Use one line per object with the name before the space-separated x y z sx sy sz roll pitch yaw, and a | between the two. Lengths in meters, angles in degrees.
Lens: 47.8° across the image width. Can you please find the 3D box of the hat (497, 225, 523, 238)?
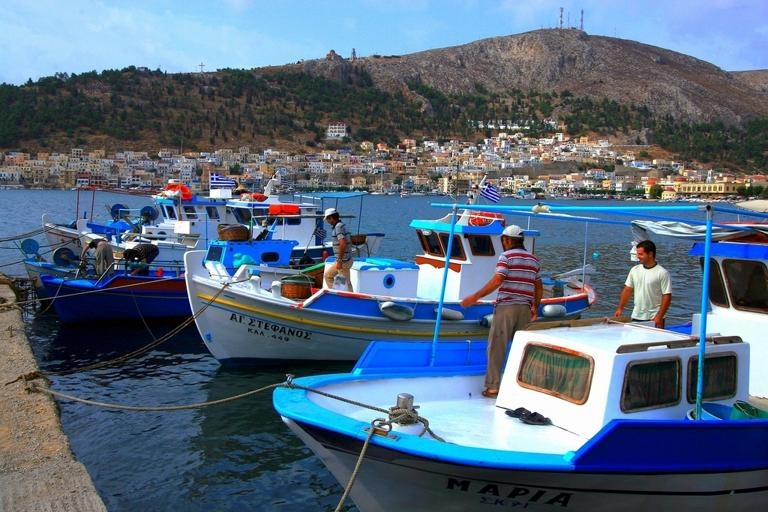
hat | 1.729 -0.335 11.705 0.270 0.120 0.172 -2 3 2

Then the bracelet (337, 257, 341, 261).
bracelet | -0.817 0.053 15.674 0.086 0.037 0.103 2 4 -3

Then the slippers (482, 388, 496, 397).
slippers | 1.411 1.847 11.603 0.152 0.055 0.191 3 4 7

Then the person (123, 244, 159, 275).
person | -5.388 0.058 19.226 0.706 0.621 1.228 -4 7 -13

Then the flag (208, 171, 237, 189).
flag | -4.281 -1.996 22.687 0.890 0.419 0.441 2 6 -3

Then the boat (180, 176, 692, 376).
boat | -0.083 0.672 16.432 6.487 1.942 3.332 -2 7 -22

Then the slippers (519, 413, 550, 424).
slippers | 1.876 2.050 10.796 0.249 0.078 0.166 3 2 12

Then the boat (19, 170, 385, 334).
boat | -3.947 0.184 20.458 7.917 2.593 3.595 -3 7 -26

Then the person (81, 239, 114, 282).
person | -6.412 0.003 19.286 0.703 0.820 2.402 -5 7 -19
